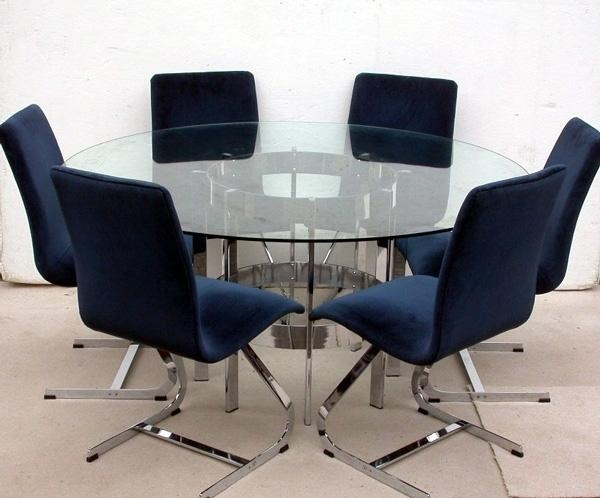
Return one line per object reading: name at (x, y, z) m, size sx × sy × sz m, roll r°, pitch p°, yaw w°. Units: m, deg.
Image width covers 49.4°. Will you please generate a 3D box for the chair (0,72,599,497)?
chair at (-0.032, 0.256, 2.866) m, size 1.958 × 0.820 × 1.677 m, roll 0°, pitch 29°, yaw 1°
